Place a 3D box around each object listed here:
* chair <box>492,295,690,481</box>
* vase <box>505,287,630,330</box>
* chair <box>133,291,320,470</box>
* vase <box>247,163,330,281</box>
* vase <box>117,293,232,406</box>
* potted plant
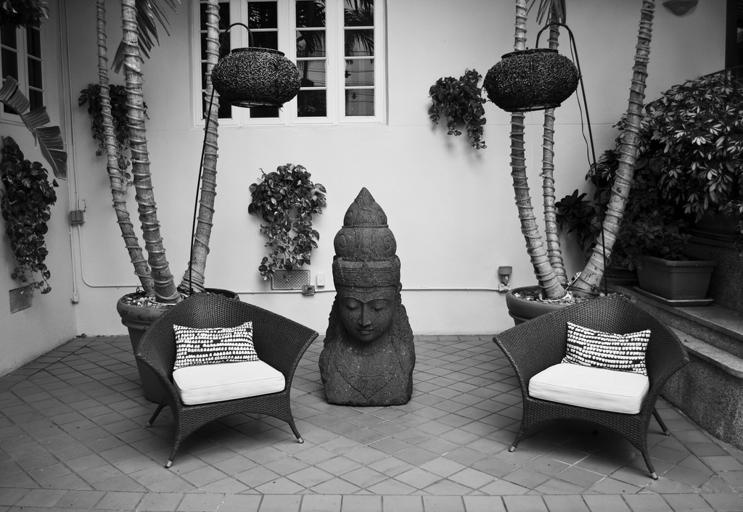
[{"bbox_3d":[1.851,0.814,4.277,1.411,1.221,1.305,1,4,31],"label":"chair"},{"bbox_3d":[1.655,0.445,5.110,0.664,0.296,0.651,-3,2,-37],"label":"vase"},{"bbox_3d":[-1.186,0.907,4.303,1.278,1.059,0.939,-5,12,-21],"label":"chair"},{"bbox_3d":[-1.042,-0.455,6.648,0.966,1.393,0.372,-4,12,-14],"label":"vase"},{"bbox_3d":[-2.073,0.862,5.221,0.764,0.571,0.772,5,-6,21],"label":"vase"},{"bbox_3d":[3.086,0.059,5.324,0.612,0.720,0.626,0,11,2],"label":"potted plant"}]
